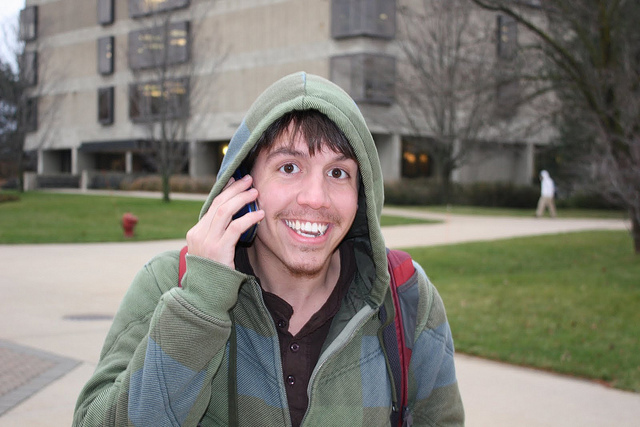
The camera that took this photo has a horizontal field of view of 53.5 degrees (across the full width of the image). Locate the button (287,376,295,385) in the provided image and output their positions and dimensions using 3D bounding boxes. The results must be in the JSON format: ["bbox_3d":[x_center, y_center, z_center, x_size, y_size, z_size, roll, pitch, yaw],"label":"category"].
[{"bbox_3d":[-0.211,1.202,4.553,0.043,0.055,0.012,4,-5,-4],"label":"button"}]

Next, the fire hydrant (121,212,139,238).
[{"bbox_3d":[-2.820,0.162,9.326,0.287,0.539,0.285,0,4,-9],"label":"fire hydrant"}]
